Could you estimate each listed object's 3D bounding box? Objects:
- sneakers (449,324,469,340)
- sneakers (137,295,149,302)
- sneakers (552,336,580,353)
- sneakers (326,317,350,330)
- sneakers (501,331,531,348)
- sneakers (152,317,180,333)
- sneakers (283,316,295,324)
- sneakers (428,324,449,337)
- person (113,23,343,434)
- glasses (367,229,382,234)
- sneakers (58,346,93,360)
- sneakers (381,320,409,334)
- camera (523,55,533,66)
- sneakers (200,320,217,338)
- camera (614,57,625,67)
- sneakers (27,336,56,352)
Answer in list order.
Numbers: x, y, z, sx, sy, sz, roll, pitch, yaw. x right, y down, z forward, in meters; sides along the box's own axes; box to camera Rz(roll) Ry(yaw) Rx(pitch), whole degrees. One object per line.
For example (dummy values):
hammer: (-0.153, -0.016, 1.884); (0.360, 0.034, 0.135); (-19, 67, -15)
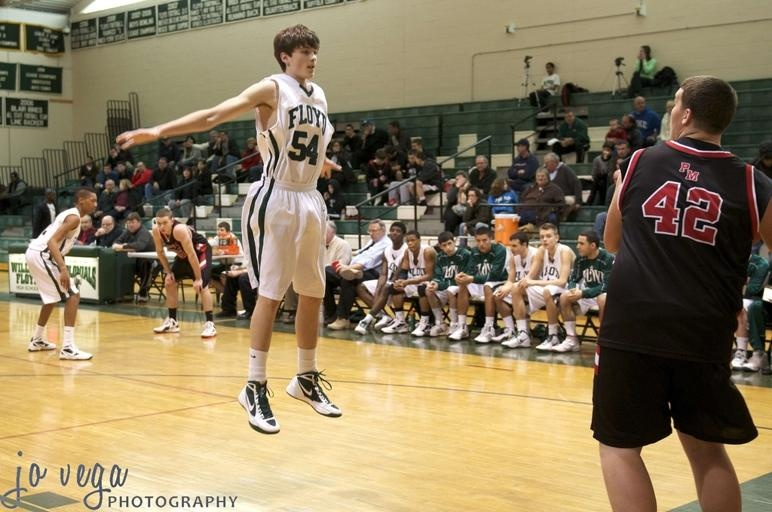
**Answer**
sneakers: (1.026, 1.080, 10.016); (0.118, 0.173, 0.369); (-3, -1, 40)
sneakers: (-4.682, 0.829, 13.882); (0.138, 0.089, 0.141); (1, 0, -3)
sneakers: (2.352, 1.136, 9.225); (0.399, 0.196, 0.170); (-2, 5, -21)
sneakers: (-0.715, 1.027, 10.837); (0.309, 0.136, 0.155); (5, -6, -39)
sneakers: (1.743, 1.107, 9.530); (0.406, 0.216, 0.215); (-1, 5, -15)
sneakers: (-3.185, 1.043, 10.644); (0.158, 0.223, 0.491); (-2, -6, 40)
sneakers: (-1.501, 1.019, 11.326); (0.084, 0.103, 0.236); (0, -6, 0)
sneakers: (0.762, 1.083, 10.357); (0.263, 0.121, 0.137); (2, -4, -44)
person: (-0.798, -0.204, 4.783); (0.992, 2.719, 0.443); (-1, 5, -17)
glasses: (-0.174, -0.390, 11.156); (0.175, 0.076, 0.102); (2, 5, 19)
sneakers: (-3.698, 1.165, 8.661); (0.425, 0.192, 0.166); (3, 3, -8)
sneakers: (0.155, 1.063, 10.667); (0.420, 0.205, 0.166); (-1, -3, -15)
camera: (3.348, -4.683, 16.888); (0.267, 0.298, 0.175); (-1, 0, -1)
sneakers: (-2.506, 1.074, 10.198); (0.119, 0.166, 0.355); (-1, -12, 0)
camera: (5.073, -4.275, 15.530); (0.326, 0.145, 0.271); (9, 13, 23)
sneakers: (-4.350, 1.130, 9.070); (0.406, 0.191, 0.158); (-3, 8, -38)
